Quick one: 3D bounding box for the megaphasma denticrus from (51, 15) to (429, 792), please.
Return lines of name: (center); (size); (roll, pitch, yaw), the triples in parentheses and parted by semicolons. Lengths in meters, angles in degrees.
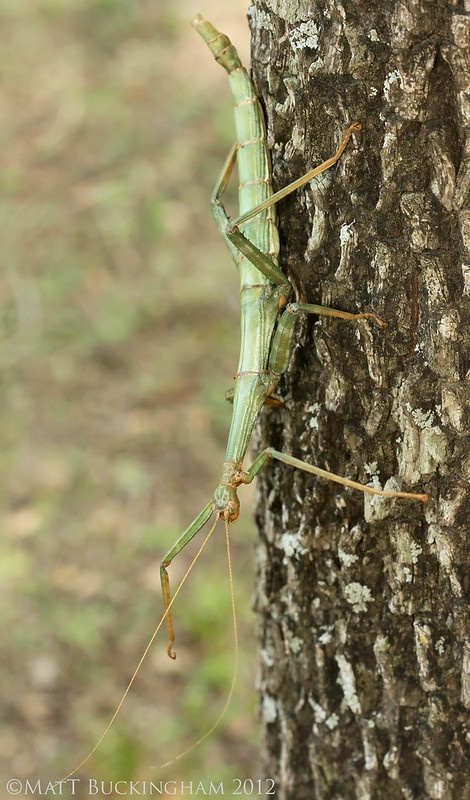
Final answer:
megaphasma denticrus: (-0.016, 0.227, 2.875); (0.665, 2.354, 1.209); (4, 48, -8)
